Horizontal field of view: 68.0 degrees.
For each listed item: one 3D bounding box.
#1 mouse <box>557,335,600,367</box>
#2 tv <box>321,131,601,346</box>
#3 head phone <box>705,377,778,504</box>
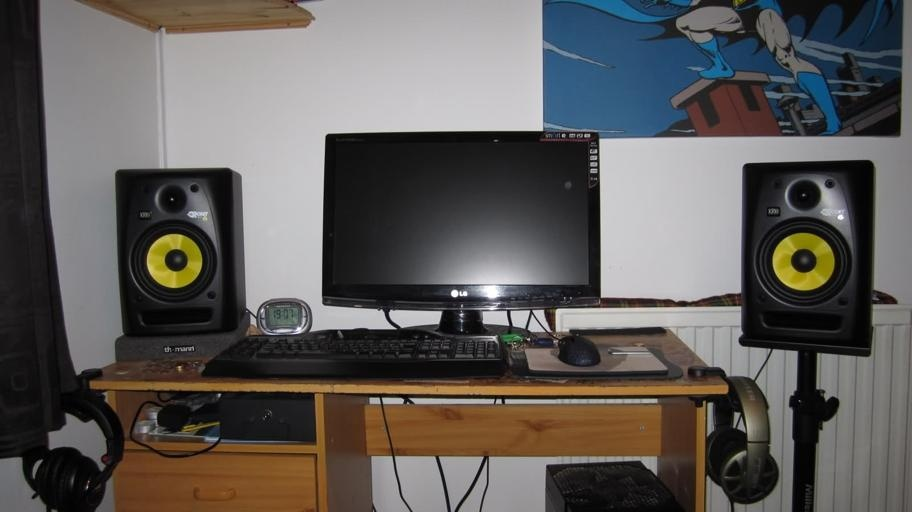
[{"bbox_3d":[0.463,0.362,2.593,0.117,0.104,0.141,-5,7,-37],"label":"mouse"},{"bbox_3d":[0.019,-0.100,2.738,0.992,0.646,0.246,0,-3,1],"label":"tv"},{"bbox_3d":[1.095,0.698,2.581,0.232,0.490,0.181,4,8,36],"label":"head phone"}]
